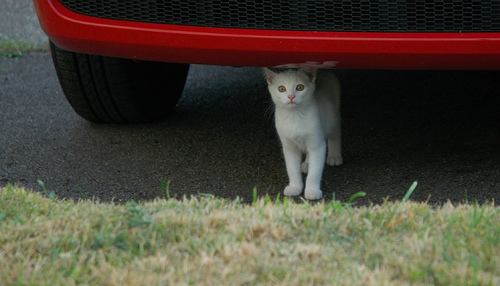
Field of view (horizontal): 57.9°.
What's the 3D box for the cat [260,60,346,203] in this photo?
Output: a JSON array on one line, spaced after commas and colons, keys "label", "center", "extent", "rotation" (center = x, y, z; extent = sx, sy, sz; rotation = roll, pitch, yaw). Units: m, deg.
[{"label": "cat", "center": [0.404, -0.199, 3.055], "extent": [0.456, 0.908, 1.072], "rotation": [0, 20, 21]}]
